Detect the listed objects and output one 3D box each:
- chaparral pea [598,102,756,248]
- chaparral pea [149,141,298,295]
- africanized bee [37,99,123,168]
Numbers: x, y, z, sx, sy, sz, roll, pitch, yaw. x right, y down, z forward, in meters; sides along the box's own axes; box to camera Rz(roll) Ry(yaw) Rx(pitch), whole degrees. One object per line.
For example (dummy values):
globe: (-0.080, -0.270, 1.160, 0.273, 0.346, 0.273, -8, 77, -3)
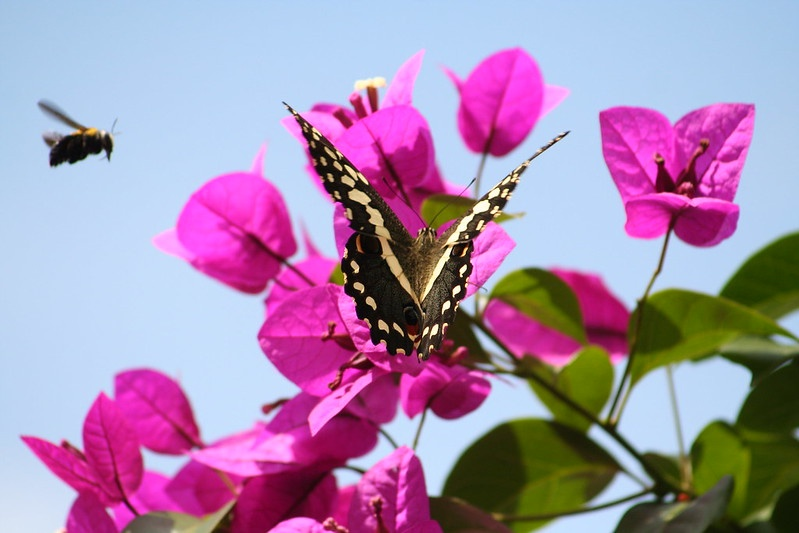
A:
chaparral pea: (0.338, -0.116, 1.301, 0.135, 0.122, 0.166, -6, -78, -30)
chaparral pea: (-0.207, -0.049, 1.377, 0.180, 0.083, 0.119, 19, -57, -37)
africanized bee: (-0.431, -0.165, 1.443, 0.091, 0.044, 0.119, -4, -11, -1)
